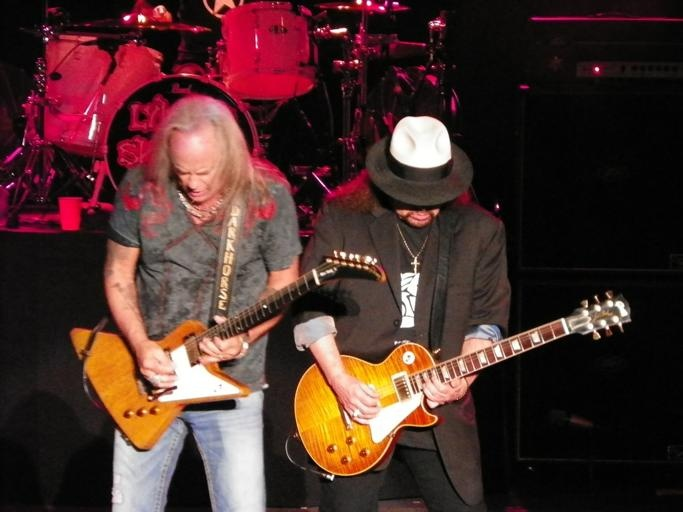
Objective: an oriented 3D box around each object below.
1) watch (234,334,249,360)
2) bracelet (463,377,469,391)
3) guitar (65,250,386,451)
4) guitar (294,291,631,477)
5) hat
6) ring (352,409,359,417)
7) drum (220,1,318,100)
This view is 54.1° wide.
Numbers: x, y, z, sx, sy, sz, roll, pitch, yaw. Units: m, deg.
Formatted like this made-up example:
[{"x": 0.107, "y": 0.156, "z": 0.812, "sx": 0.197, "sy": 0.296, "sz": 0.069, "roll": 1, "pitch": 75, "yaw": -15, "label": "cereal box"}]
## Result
[{"x": -0.507, "y": 0.462, "z": 3.403, "sx": 0.079, "sy": 0.108, "sz": 0.028, "roll": 16, "pitch": -14, "yaw": -32, "label": "watch"}, {"x": 0.635, "y": 0.652, "z": 3.434, "sx": 0.009, "sy": 0.101, "sz": 0.038, "roll": 12, "pitch": 36, "yaw": 41, "label": "bracelet"}, {"x": -0.598, "y": 0.475, "z": 3.547, "sx": 1.273, "sy": 0.606, "sz": 0.161, "roll": -28, "pitch": -4, "yaw": 4, "label": "guitar"}, {"x": 0.619, "y": 0.660, "z": 3.522, "sx": 2.160, "sy": 0.734, "sz": 0.262, "roll": -19, "pitch": -9, "yaw": 10, "label": "guitar"}, {"x": 0.404, "y": -0.456, "z": 3.541, "sx": 0.509, "sy": 0.221, "sz": 0.506, "roll": -4, "pitch": 50, "yaw": -7, "label": "hat"}, {"x": 0.076, "y": 0.795, "z": 3.394, "sx": 0.025, "sy": 0.035, "sz": 0.008, "roll": 15, "pitch": 7, "yaw": 8, "label": "ring"}, {"x": -0.694, "y": -1.931, "z": 6.323, "sx": 0.908, "sy": 0.885, "sz": 0.633, "roll": -5, "pitch": 23, "yaw": -2, "label": "drum"}]
